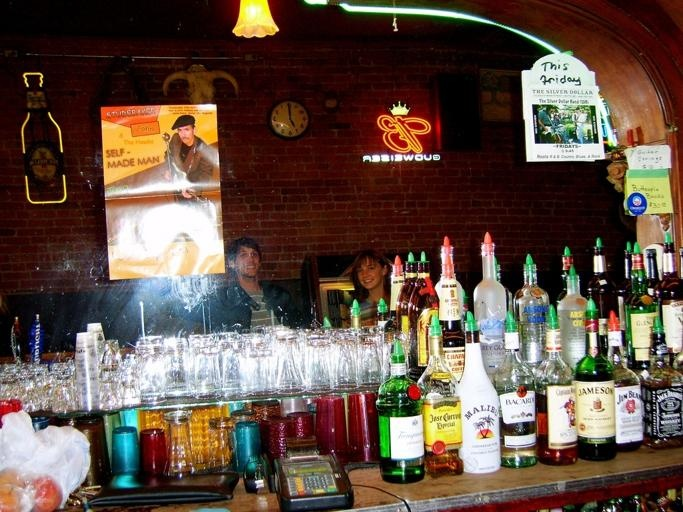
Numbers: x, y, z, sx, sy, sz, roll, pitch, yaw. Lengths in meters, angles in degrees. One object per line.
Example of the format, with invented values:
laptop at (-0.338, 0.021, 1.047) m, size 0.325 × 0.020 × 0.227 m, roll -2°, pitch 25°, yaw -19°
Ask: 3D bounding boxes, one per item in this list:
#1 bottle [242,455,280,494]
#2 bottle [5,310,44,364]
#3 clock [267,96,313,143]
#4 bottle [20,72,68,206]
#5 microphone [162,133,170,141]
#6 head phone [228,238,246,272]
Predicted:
bottle at (-0.270, 0.729, 2.004) m, size 0.100 × 0.096 × 0.093 m, roll 1°, pitch 1°, yaw -21°
bottle at (-2.504, 0.642, 4.767) m, size 0.403 × 0.365 × 0.222 m, roll -7°, pitch -4°, yaw 19°
clock at (-0.462, -1.189, 5.251) m, size 0.411 × 0.410 × 0.044 m, roll 1°, pitch 0°, yaw -13°
bottle at (-2.362, -0.928, 4.784) m, size 0.368 × 1.072 × 0.121 m, roll -6°, pitch -3°, yaw 11°
microphone at (-1.305, -0.889, 4.542) m, size 0.041 × 0.058 × 0.020 m, roll 2°, pitch -2°, yaw -20°
head phone at (-0.855, -0.020, 4.941) m, size 0.172 × 0.218 × 0.080 m, roll 2°, pitch -6°, yaw 2°
